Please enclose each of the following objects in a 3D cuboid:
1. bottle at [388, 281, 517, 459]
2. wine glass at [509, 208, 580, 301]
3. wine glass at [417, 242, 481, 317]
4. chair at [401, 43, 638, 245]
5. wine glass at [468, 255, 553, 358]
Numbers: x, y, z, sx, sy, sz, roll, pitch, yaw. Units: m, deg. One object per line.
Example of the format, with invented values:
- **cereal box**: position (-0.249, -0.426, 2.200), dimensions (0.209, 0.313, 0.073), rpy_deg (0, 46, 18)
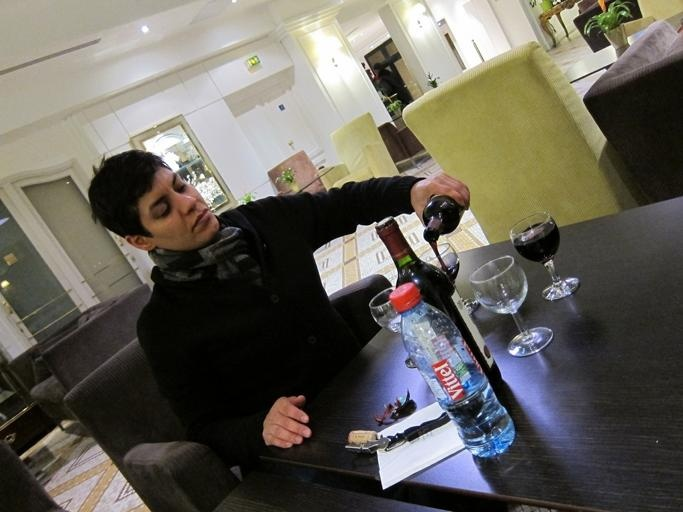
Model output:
- **bottle**: position (0.203, 0.213, 0.864), dimensions (0.105, 0.369, 0.108), rpy_deg (-28, 19, 11)
- **wine glass**: position (0.503, 0.002, 1.142), dimensions (0.108, 0.190, 0.110), rpy_deg (-32, 9, -17)
- **wine glass**: position (0.264, 0.062, 1.127), dimensions (0.096, 0.180, 0.103), rpy_deg (-37, 10, -5)
- **chair**: position (0.874, -0.694, 2.329), dimensions (0.670, 0.927, 0.694), rpy_deg (-15, 34, 47)
- **wine glass**: position (0.389, 0.112, 1.050), dimensions (0.113, 0.201, 0.112), rpy_deg (-37, 13, -32)
